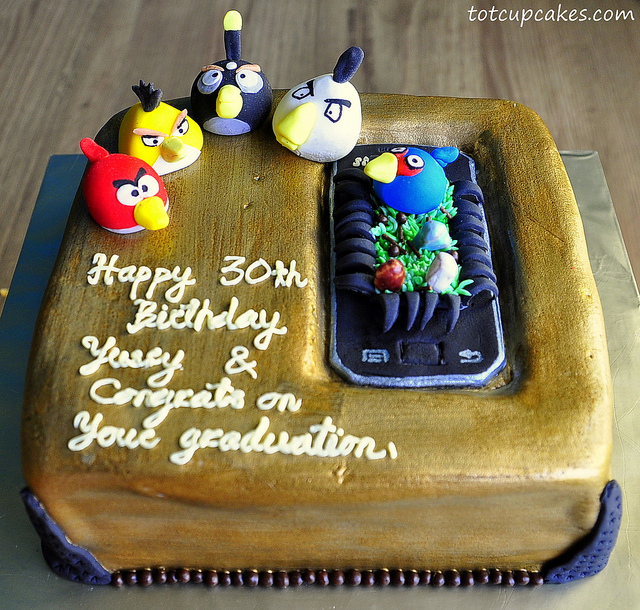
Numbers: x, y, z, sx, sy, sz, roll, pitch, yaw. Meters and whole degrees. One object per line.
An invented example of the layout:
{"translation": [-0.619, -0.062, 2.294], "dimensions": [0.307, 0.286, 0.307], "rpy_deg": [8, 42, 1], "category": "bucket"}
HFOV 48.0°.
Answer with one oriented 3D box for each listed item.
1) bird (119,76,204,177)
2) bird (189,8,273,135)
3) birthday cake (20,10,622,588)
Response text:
{"translation": [-0.368, -0.410, 1.629], "dimensions": [0.194, 0.141, 0.217], "rpy_deg": [-31, 57, -31], "category": "bird"}
{"translation": [-0.202, -0.529, 1.735], "dimensions": [0.212, 0.355, 0.258], "rpy_deg": [-1, 44, -3], "category": "bird"}
{"translation": [0.008, -0.004, 1.527], "dimensions": [1.160, 0.562, 1.032], "rpy_deg": [4, 58, -5], "category": "birthday cake"}
